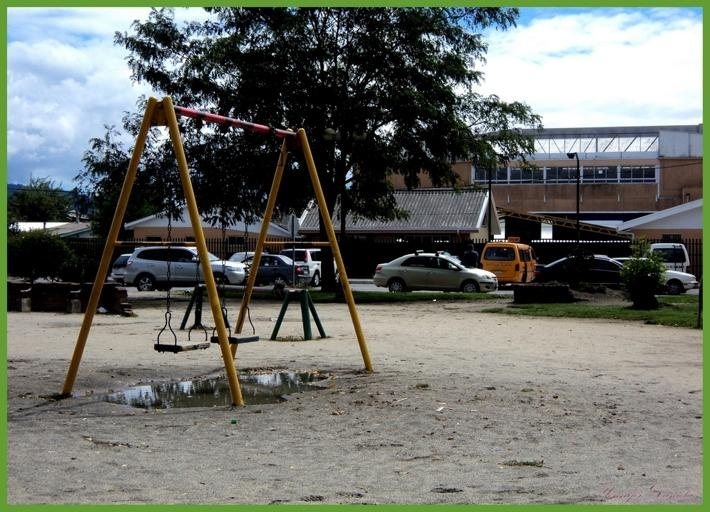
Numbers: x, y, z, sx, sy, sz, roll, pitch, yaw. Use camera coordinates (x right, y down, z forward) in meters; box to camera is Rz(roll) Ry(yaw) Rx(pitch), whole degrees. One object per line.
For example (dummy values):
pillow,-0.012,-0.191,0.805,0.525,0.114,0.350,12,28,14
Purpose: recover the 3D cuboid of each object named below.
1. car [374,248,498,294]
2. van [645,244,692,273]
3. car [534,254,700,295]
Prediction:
car,2.860,0.710,28.543,4.300,1.504,1.755,0,0,20
van,11.686,0.069,28.623,2.412,1.250,1.381,1,0,7
car,9.733,0.639,28.540,5.328,1.503,2.272,-1,0,13
